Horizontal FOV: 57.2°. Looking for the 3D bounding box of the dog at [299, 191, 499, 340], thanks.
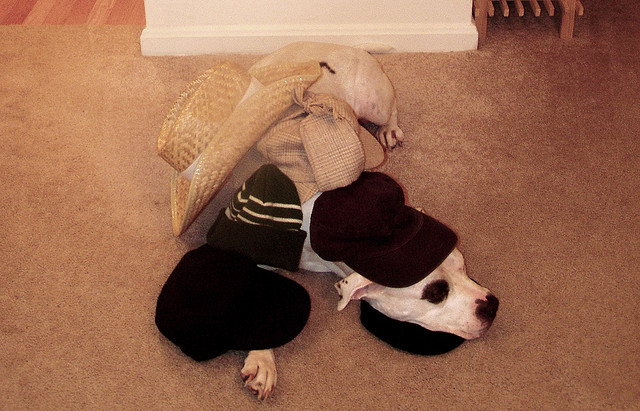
[{"bbox_3d":[0.293,0.397,2.603,0.802,0.291,0.549,35,58,12],"label":"dog"}]
